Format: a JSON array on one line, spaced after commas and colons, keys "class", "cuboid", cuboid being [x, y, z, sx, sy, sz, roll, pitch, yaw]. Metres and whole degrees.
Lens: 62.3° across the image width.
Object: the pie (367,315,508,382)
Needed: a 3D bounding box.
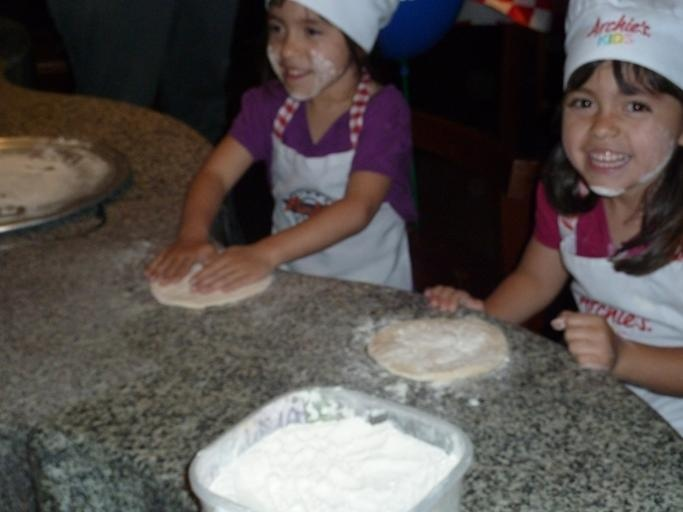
[{"class": "pie", "cuboid": [0.168, 0.158, 0.976, 0.248, 0.046, 0.183, 0, 39, -6]}]
